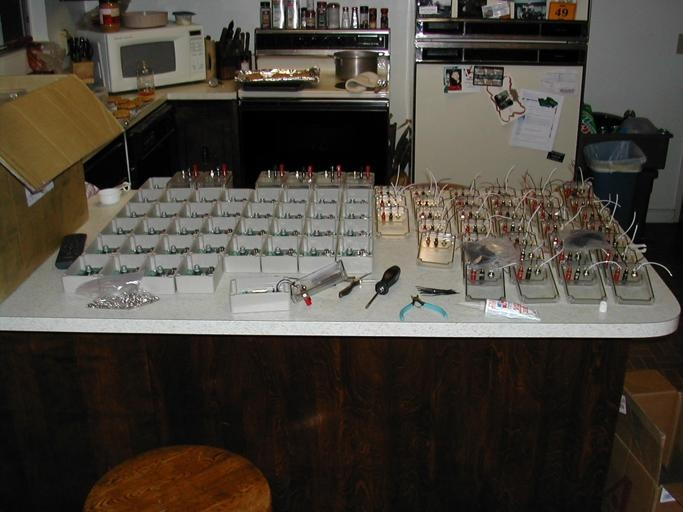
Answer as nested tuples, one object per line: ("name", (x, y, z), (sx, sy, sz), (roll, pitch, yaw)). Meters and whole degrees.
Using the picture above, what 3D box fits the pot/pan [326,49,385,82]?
("pot/pan", (0.131, -1.577, 4.118), (0.278, 0.186, 0.288), (-10, 37, -12))

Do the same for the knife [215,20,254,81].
("knife", (-0.884, -1.755, 4.340), (0.348, 0.442, 0.372), (-21, 33, -35))

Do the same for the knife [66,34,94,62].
("knife", (-1.861, -1.487, 3.636), (0.138, 0.160, 0.260), (-2, 27, -2))

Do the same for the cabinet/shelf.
("cabinet/shelf", (-1.226, -0.832, 3.737), (0.656, 0.831, 1.252), (4, 24, 8))

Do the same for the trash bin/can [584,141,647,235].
("trash bin/can", (2.046, -0.551, 3.884), (0.468, 0.635, 0.390), (15, 30, 30))

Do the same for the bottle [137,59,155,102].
("bottle", (-1.448, -1.302, 3.762), (0.126, 0.232, 0.360), (-10, 29, -18))

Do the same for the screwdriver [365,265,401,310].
("screwdriver", (0.151, 0.080, 1.712), (0.056, 0.059, 0.252), (45, 40, -6))

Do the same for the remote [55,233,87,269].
("remote", (-0.969, -0.021, 1.848), (0.207, 0.122, 0.050), (3, -9, 22))
